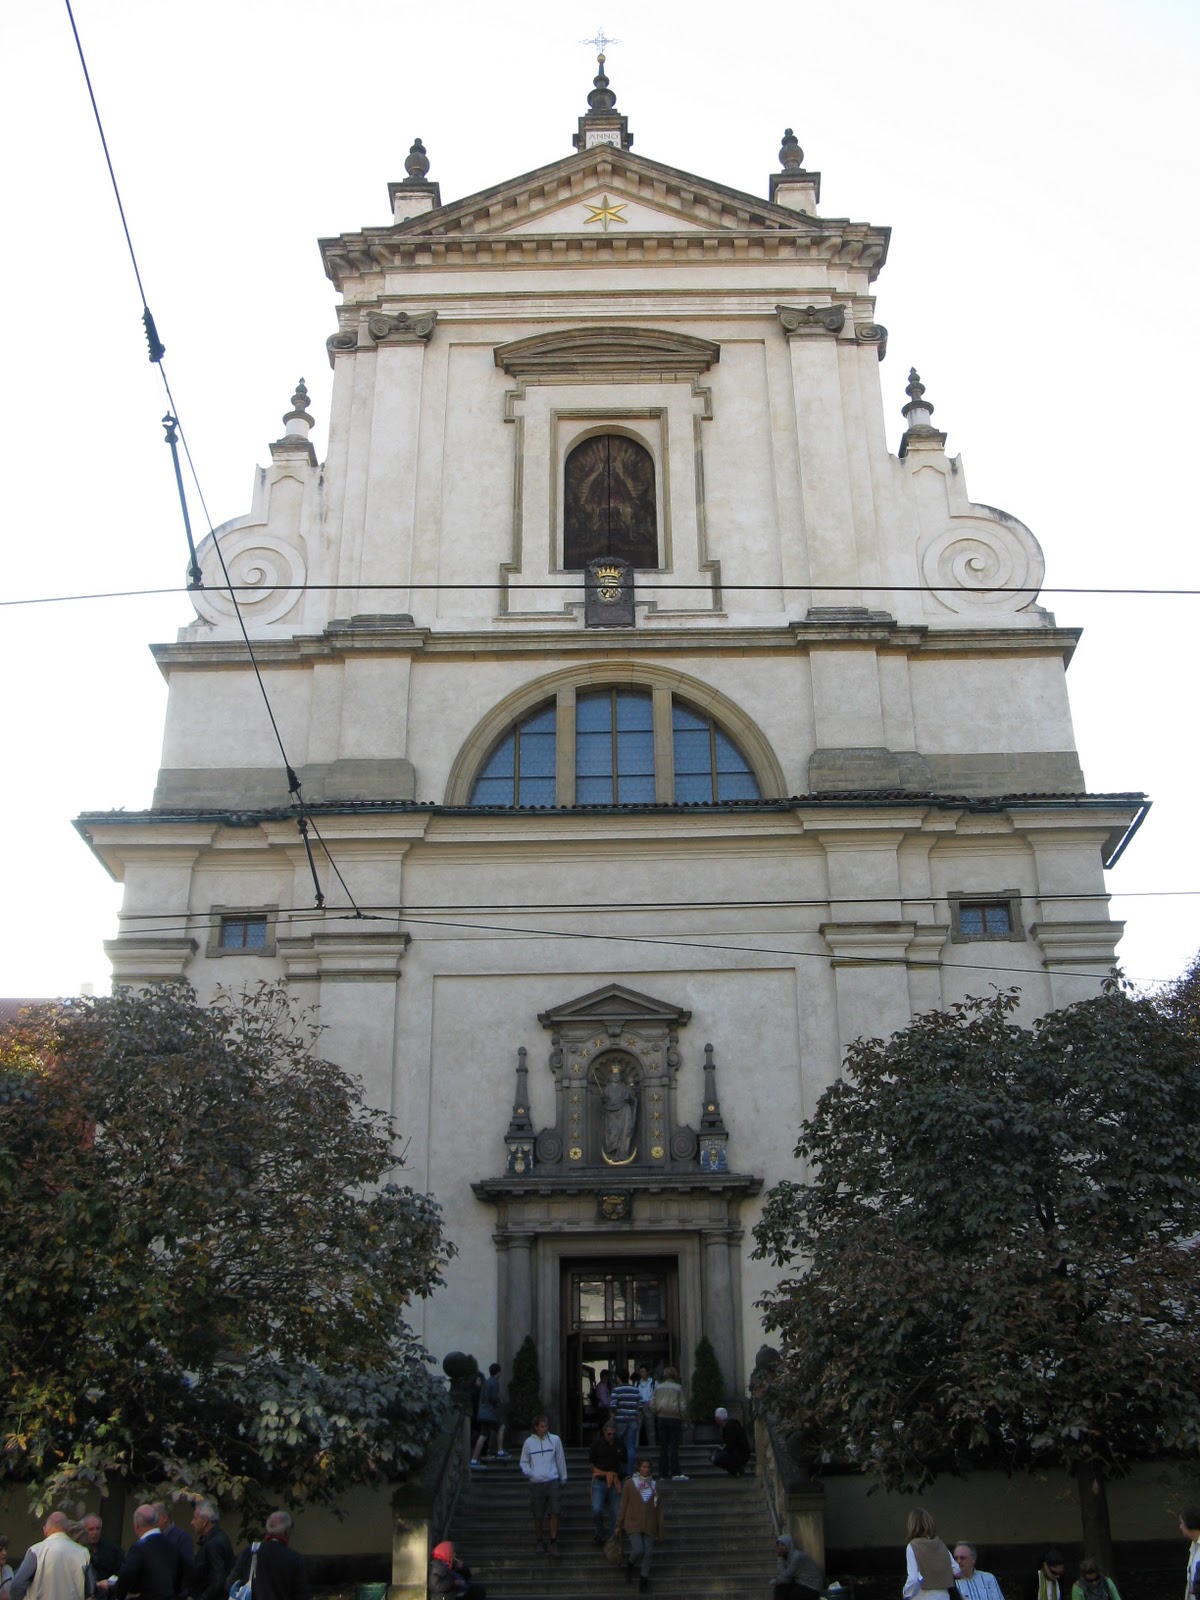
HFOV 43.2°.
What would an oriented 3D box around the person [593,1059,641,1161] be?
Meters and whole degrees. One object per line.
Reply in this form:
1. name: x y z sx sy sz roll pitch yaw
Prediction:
1. person: 0.241 4.513 22.063 0.629 1.707 0.464 1 -29 1
